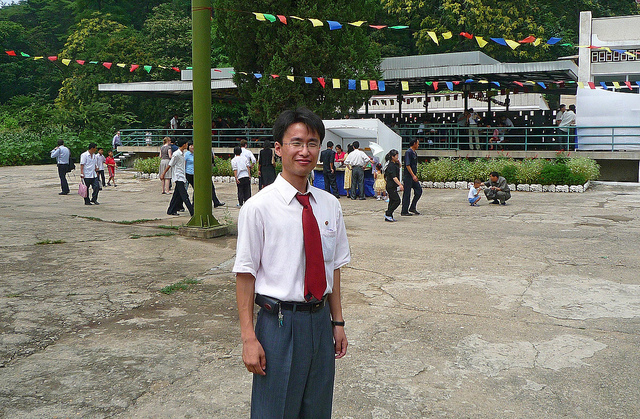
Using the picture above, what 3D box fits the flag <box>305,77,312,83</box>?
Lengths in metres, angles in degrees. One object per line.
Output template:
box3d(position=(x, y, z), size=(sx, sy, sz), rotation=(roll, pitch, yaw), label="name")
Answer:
box3d(position=(-0.486, -5.362, 18.804), size=(0.281, 0.220, 0.539), rotation=(-1, 6, -6), label="flag")

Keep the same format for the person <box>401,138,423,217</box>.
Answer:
box3d(position=(2.740, -0.936, 13.448), size=(0.570, 2.203, 1.454), rotation=(1, 6, 12), label="person")

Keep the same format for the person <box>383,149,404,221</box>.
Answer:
box3d(position=(2.016, -0.660, 12.404), size=(0.456, 1.929, 1.045), rotation=(1, 6, 8), label="person")

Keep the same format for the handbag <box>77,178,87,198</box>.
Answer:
box3d(position=(-7.629, -0.687, 14.523), size=(0.204, 0.632, 0.681), rotation=(-3, 7, -28), label="handbag")

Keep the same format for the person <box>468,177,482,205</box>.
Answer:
box3d(position=(5.290, -0.612, 15.361), size=(0.339, 0.857, 1.109), rotation=(2, 6, 20), label="person")

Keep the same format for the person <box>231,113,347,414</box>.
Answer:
box3d(position=(-0.208, 0.370, 3.161), size=(0.765, 2.088, 0.510), rotation=(0, 6, -1), label="person")

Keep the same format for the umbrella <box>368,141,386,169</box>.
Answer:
box3d(position=(2.284, -2.177, 17.885), size=(0.556, 0.954, 1.388), rotation=(1, 6, 7), label="umbrella")

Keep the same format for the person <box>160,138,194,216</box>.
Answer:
box3d(position=(-4.041, -0.909, 12.829), size=(0.670, 2.187, 1.210), rotation=(-2, 7, -19), label="person")

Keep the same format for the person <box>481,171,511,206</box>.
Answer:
box3d(position=(5.983, -0.729, 15.303), size=(0.860, 1.048, 0.798), rotation=(-8, 7, -40), label="person")

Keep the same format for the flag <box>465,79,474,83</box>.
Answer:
box3d(position=(7.704, -6.554, 23.133), size=(0.368, 0.164, 0.561), rotation=(2, 6, 17), label="flag")

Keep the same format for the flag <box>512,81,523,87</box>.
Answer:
box3d(position=(10.908, -6.888, 24.810), size=(0.351, 0.125, 2.108), rotation=(3, 6, 30), label="flag")

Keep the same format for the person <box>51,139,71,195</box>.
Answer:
box3d(position=(-10.293, -1.701, 17.943), size=(0.602, 2.148, 1.388), rotation=(-3, 7, -28), label="person")

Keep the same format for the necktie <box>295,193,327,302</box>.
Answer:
box3d(position=(-0.069, 0.253, 3.123), size=(0.162, 0.721, 0.204), rotation=(-3, 7, -28), label="necktie")
